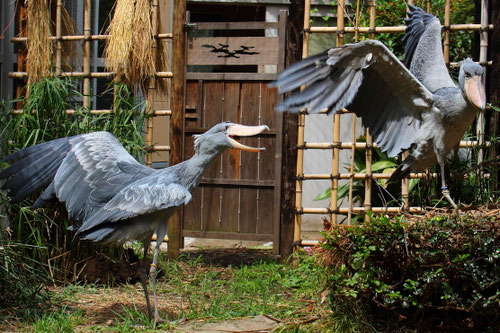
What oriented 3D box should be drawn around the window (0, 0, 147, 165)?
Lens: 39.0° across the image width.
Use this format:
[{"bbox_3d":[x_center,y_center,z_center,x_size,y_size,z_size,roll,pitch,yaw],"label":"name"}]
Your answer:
[{"bbox_3d":[-1.858,-0.854,7.329,1.685,1.072,1.566,-1,5,-19],"label":"window"}]
